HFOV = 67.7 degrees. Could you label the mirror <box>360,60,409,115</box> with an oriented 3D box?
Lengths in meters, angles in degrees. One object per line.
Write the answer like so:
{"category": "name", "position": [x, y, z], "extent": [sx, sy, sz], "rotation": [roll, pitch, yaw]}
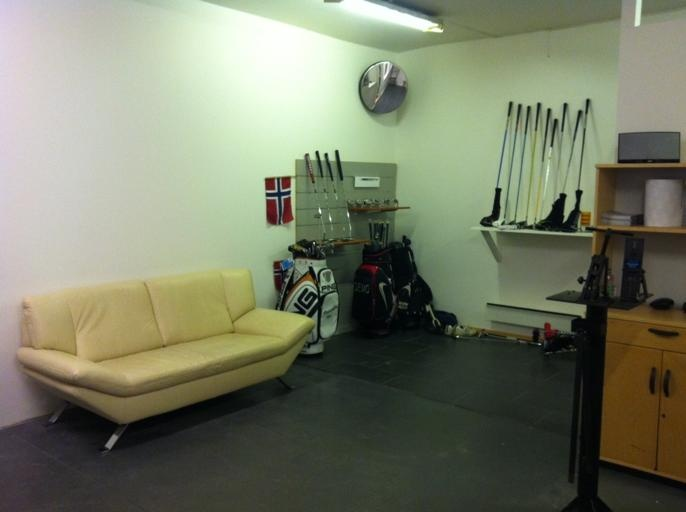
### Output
{"category": "mirror", "position": [0.481, -2.078, 6.242], "extent": [0.643, 0.674, 0.084], "rotation": [-11, 21, -30]}

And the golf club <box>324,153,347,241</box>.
{"category": "golf club", "position": [-0.069, -0.859, 6.264], "extent": [0.201, 0.124, 1.061], "rotation": [2, -28, 10]}

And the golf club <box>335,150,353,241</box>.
{"category": "golf club", "position": [0.010, -0.745, 6.094], "extent": [0.147, 1.152, 0.149], "rotation": [-11, 6, -40]}

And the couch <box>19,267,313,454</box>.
{"category": "couch", "position": [-1.428, 0.738, 4.144], "extent": [1.983, 1.004, 1.065], "rotation": [-10, 15, -40]}

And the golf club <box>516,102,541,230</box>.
{"category": "golf club", "position": [2.117, -1.109, 5.743], "extent": [0.141, 1.649, 0.234], "rotation": [4, 1, 43]}

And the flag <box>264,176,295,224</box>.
{"category": "flag", "position": [-0.692, -0.594, 5.432], "extent": [0.050, 0.559, 0.438], "rotation": [8, 13, 39]}

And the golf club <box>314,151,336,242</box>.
{"category": "golf club", "position": [-0.182, -0.646, 5.901], "extent": [0.177, 1.087, 0.089], "rotation": [-4, 2, -18]}

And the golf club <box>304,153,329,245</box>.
{"category": "golf club", "position": [-0.299, -0.639, 5.811], "extent": [0.205, 1.013, 0.108], "rotation": [-8, 2, -36]}
